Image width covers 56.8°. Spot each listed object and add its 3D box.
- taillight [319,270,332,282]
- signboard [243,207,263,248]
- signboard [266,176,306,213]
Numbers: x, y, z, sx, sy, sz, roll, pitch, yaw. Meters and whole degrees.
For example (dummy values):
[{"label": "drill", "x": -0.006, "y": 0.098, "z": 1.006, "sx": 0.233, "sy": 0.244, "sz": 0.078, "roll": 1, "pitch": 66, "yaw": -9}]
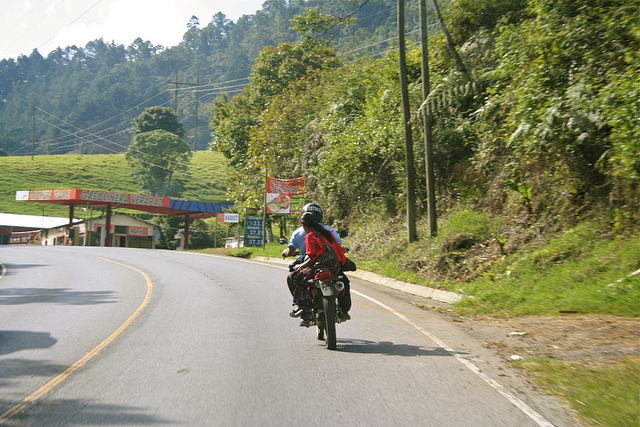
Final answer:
[{"label": "taillight", "x": 0.111, "y": 1.231, "z": 11.670, "sx": 0.236, "sy": 0.237, "sz": 0.050, "roll": 1, "pitch": 4, "yaw": -2}, {"label": "signboard", "x": -4.788, "y": 1.009, "z": 42.760, "sx": 1.285, "sy": 2.720, "sz": 2.841, "roll": 1, "pitch": 3, "yaw": -7}, {"label": "signboard", "x": -2.430, "y": -1.253, "z": 40.068, "sx": 2.596, "sy": 2.293, "sz": 0.530, "roll": 2, "pitch": 4, "yaw": 14}]
